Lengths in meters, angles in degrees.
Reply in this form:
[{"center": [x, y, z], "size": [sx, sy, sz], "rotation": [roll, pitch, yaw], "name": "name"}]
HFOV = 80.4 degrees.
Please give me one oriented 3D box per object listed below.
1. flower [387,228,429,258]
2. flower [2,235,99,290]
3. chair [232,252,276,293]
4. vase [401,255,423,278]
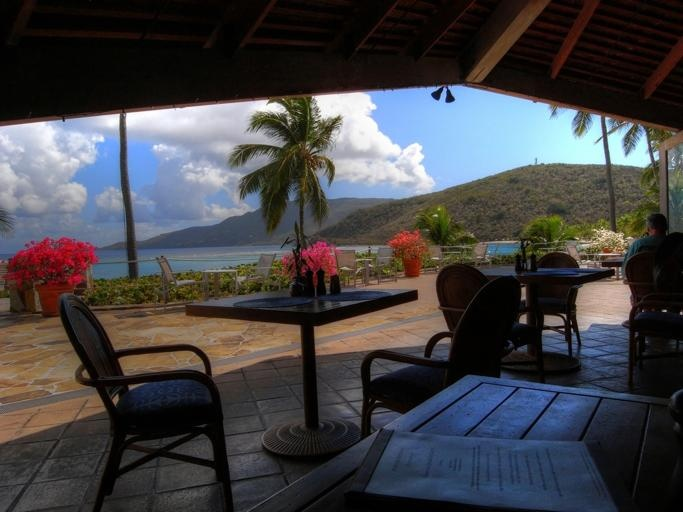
[{"center": [2.212, -0.387, 13.022], "size": [1.030, 0.660, 0.964], "rotation": [2, 13, 15], "name": "flower"}, {"center": [-5.691, 0.219, 8.212], "size": [1.218, 0.855, 1.251], "rotation": [1, -4, 3], "name": "flower"}, {"center": [-2.007, 0.386, 9.508], "size": [0.992, 1.228, 0.886], "rotation": [2, 0, -32], "name": "chair"}, {"center": [2.333, 0.365, 13.208], "size": [0.660, 0.531, 0.675], "rotation": [0, -2, -7], "name": "vase"}]
